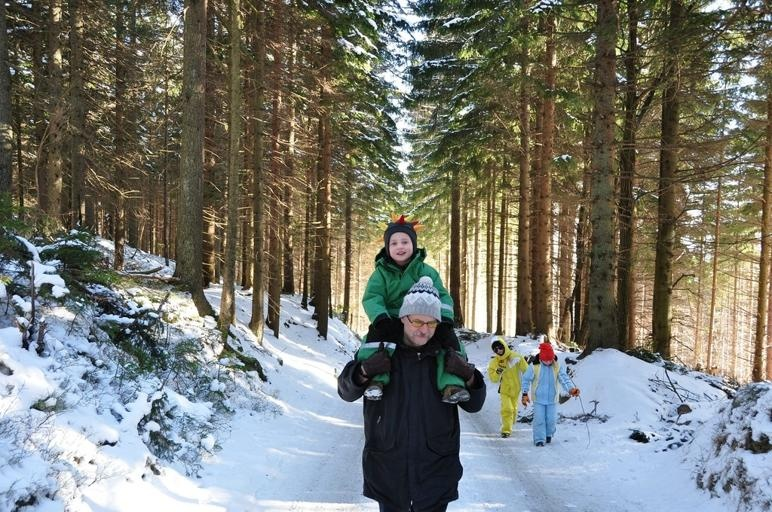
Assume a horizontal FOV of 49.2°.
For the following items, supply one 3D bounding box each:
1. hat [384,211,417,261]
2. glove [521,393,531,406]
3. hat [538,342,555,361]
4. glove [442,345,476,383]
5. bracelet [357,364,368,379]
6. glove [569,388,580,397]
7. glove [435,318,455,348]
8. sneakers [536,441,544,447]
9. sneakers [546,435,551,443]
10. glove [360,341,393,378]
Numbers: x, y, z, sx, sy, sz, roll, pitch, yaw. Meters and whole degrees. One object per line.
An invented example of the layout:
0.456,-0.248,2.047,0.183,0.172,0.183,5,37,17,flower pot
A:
0.378,-0.450,21.830,0.816,1.137,1.120,3,-34,-1,hat
4.412,4.417,26.153,0.246,0.467,0.365,7,-15,-6,glove
4.996,2.925,26.313,0.383,0.489,0.546,-3,6,-6,hat
1.859,2.733,20.970,0.784,0.601,0.217,33,0,4,glove
-0.575,2.840,21.089,0.199,0.291,0.210,12,15,30,bracelet
5.801,4.113,25.900,0.402,0.243,0.203,1,-25,-28,glove
1.524,1.912,21.358,0.396,0.773,0.315,-15,-1,10,glove
4.655,5.592,25.451,0.269,0.145,0.086,2,0,9,sneakers
4.937,5.515,25.592,0.120,0.182,0.176,0,2,10,sneakers
-0.203,2.559,21.083,0.669,0.760,0.301,-7,10,-14,glove
